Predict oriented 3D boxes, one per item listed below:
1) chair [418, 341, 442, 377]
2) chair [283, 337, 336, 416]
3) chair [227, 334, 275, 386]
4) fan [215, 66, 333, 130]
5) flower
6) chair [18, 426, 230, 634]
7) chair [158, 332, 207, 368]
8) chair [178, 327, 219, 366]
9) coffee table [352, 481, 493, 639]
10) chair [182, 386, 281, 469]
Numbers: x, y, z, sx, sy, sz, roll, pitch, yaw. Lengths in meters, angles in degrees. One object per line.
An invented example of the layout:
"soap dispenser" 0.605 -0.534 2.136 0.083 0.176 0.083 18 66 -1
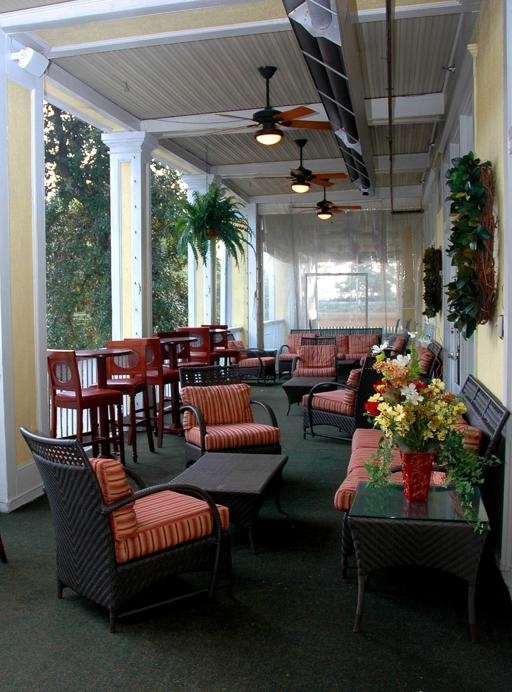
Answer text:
"chair" 2.254 0.164 6.830 0.210 0.337 0.558 -1 0 9
"chair" 0.965 0.416 8.272 0.730 0.988 1.563 -1 3 13
"chair" -0.088 0.270 10.754 1.052 1.298 1.032 0 2 13
"fan" 0.326 -2.431 5.513 0.839 0.427 0.911 6 7 38
"flower" 0.877 0.334 2.378 0.657 0.747 0.672 7 -3 -27
"chair" -0.556 0.755 2.631 1.004 0.966 0.698 -3 2 -39
"chair" -0.910 0.052 6.620 0.507 0.350 0.514 -5 14 -27
"chair" -0.766 0.000 7.252 0.510 0.825 0.541 -1 -5 5
"coffee table" 0.658 0.784 2.207 0.510 0.430 0.594 0 3 10
"chair" -0.211 0.629 4.358 0.611 0.592 0.729 -1 -5 -21
